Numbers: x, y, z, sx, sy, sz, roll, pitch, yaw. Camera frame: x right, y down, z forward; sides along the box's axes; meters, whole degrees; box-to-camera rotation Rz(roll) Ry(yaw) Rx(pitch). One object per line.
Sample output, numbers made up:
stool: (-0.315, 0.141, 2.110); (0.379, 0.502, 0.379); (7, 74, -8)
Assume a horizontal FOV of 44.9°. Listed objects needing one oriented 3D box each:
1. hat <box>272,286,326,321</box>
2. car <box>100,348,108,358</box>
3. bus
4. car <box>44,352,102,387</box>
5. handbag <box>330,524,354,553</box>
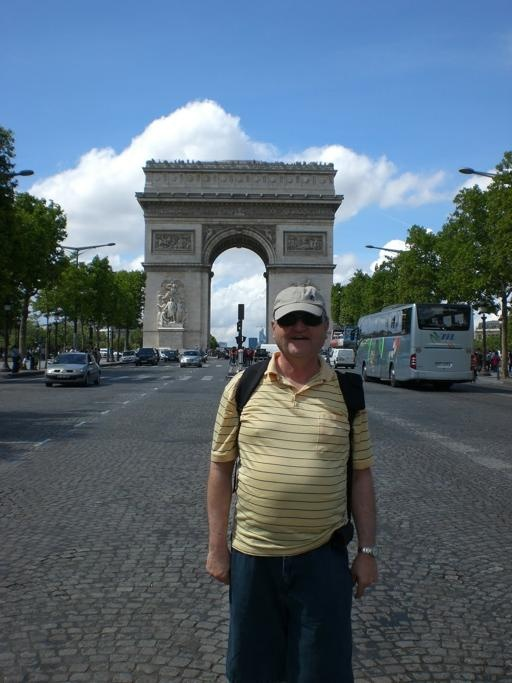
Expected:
hat: (0.138, -0.123, 2.026); (0.114, 0.078, 0.151); (1, -16, 5)
car: (-25.645, 2.041, 104.417); (1.571, 1.581, 3.137); (-1, -5, -6)
bus: (7.741, 0.172, 29.411); (3.644, 4.002, 9.779); (0, 0, -7)
car: (-8.157, 1.279, 27.405); (1.828, 1.501, 2.553); (0, 1, -2)
handbag: (0.272, 0.597, 1.916); (0.063, 0.082, 0.118); (5, -1, 20)
